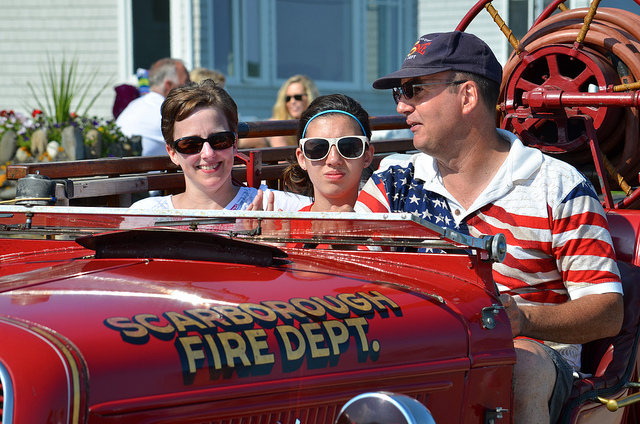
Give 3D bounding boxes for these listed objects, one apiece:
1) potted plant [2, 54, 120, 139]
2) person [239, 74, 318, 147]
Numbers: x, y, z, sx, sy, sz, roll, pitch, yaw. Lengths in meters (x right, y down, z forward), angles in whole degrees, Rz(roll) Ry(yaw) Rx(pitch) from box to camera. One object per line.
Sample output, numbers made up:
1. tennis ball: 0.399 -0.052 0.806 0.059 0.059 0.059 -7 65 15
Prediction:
1. potted plant: -3.294 -1.455 13.310 1.260 0.807 0.975 16 26 23
2. person: -0.517 -1.093 11.461 0.734 1.074 0.903 4 4 34
